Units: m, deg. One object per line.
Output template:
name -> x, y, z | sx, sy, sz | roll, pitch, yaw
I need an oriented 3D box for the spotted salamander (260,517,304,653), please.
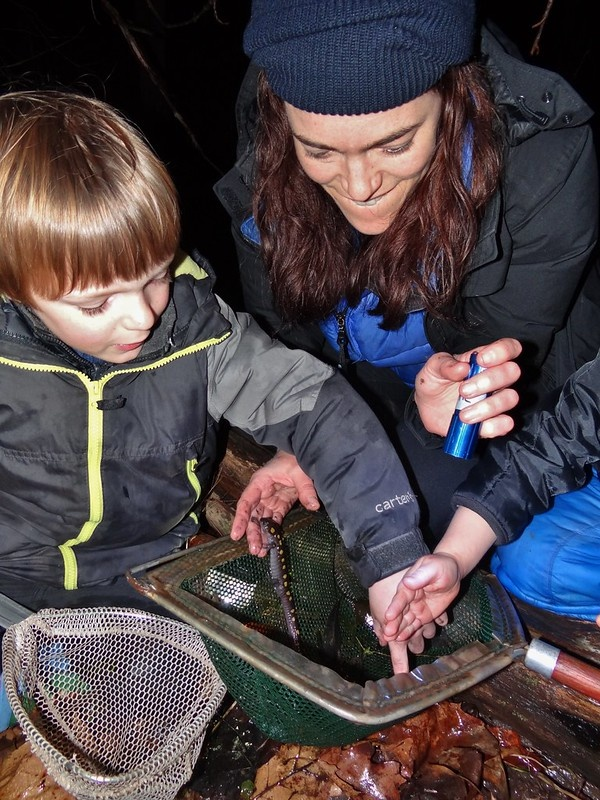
spotted salamander -> -0.037, 0.361, 1.281 | 0.031, 0.058, 0.286 | -9, 81, -17
